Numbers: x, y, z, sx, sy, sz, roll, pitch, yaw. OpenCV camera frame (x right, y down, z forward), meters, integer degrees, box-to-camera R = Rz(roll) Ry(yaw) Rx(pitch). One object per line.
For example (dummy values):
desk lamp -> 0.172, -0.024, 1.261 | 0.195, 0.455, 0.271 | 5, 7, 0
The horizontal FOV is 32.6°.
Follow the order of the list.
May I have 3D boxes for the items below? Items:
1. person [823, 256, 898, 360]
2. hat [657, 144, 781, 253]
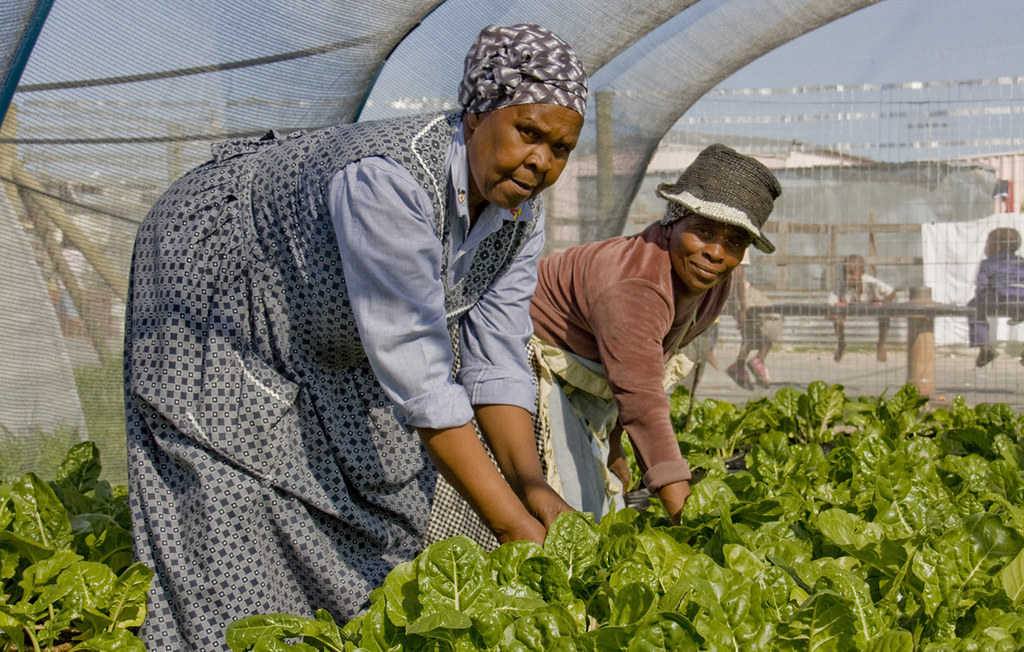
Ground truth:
person -> 3.110, -0.167, 15.278 | 0.528, 0.797, 0.420 | -27, -42, 34
hat -> 1.286, -0.772, 10.182 | 0.626, 0.308, 0.612 | 26, 3, -11
